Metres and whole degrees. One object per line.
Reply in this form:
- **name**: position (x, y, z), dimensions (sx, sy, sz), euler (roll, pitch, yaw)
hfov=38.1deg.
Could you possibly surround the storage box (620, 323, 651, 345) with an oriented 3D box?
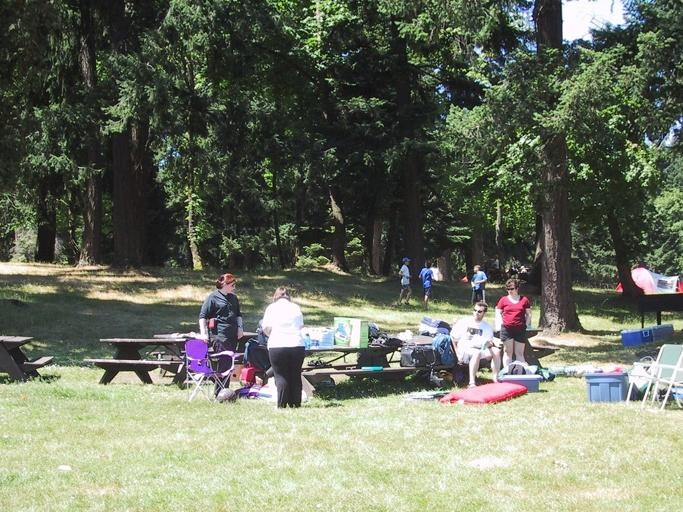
- **storage box**: position (9.036, 2.444, 30.552), dimensions (0.577, 0.399, 0.560), euler (-2, 1, -43)

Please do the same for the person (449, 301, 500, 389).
- **person**: position (3.366, 2.217, 24.663), dimensions (1.071, 2.148, 1.359), euler (4, -3, -32)

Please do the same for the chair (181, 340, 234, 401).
- **chair**: position (-3.332, 2.573, 22.866), dimensions (0.820, 1.068, 0.751), euler (0, 12, -38)

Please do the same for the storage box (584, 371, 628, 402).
- **storage box**: position (6.152, 3.042, 22.997), dimensions (0.757, 0.584, 0.606), euler (-3, -4, 12)
